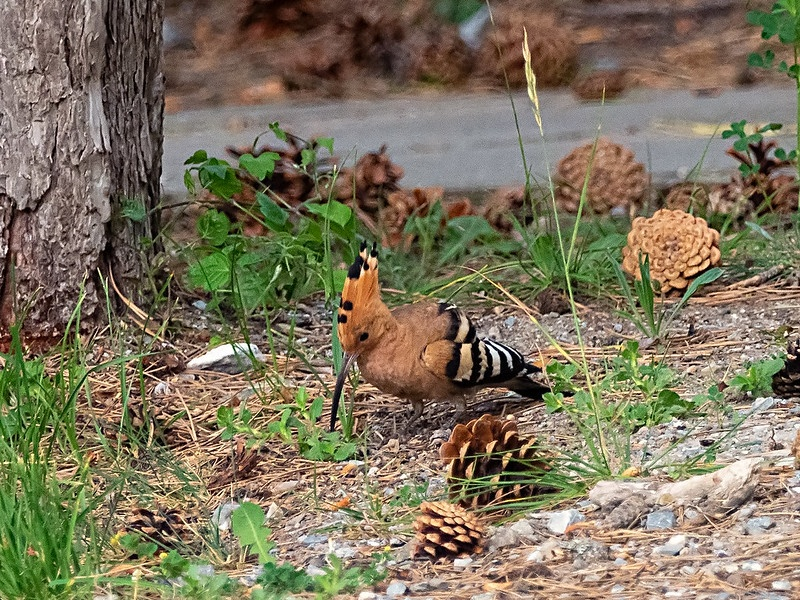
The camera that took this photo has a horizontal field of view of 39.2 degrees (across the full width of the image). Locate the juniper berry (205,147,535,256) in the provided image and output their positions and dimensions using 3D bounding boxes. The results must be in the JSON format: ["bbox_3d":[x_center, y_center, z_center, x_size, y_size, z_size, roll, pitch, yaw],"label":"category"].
[{"bbox_3d":[-0.171,-0.731,7.310,1.928,0.900,0.796,-11,16,6],"label":"juniper berry"}]

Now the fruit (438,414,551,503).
[{"bbox_3d":[0.388,0.654,4.601,0.438,0.353,0.391,-14,15,-2],"label":"fruit"}]

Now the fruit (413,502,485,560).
[{"bbox_3d":[0.181,0.878,4.366,0.274,0.175,0.184,-12,15,4],"label":"fruit"}]

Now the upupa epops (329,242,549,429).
[{"bbox_3d":[0.114,0.215,5.253,0.826,0.948,1.155,0,6,36],"label":"upupa epops"}]
